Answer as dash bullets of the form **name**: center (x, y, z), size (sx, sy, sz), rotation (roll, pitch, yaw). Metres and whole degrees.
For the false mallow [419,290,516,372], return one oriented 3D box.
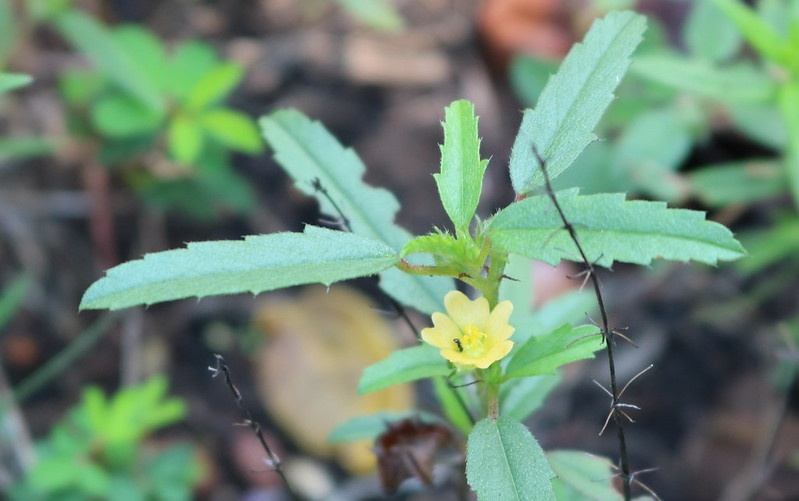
- **false mallow**: center (0.333, 0.394, 3.750), size (0.434, 0.073, 0.361), rotation (12, 78, 9)
